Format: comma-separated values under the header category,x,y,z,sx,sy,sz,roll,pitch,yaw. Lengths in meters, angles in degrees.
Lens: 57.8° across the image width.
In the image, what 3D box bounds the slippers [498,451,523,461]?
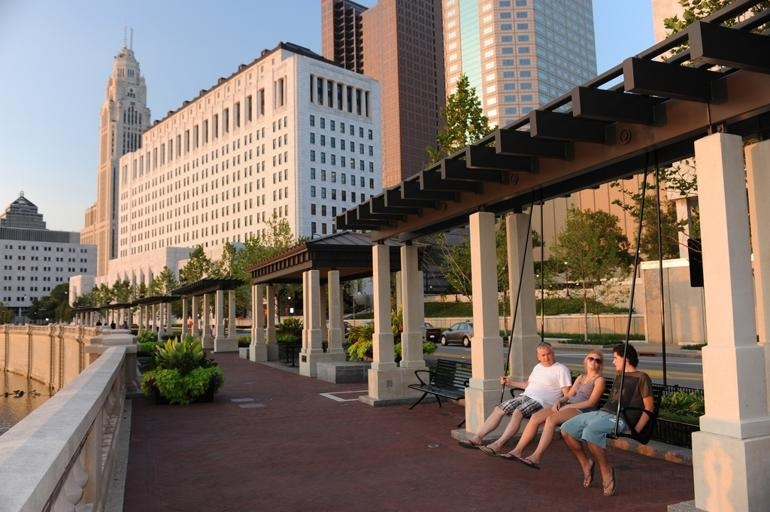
category,x,y,z,sx,sy,sz,roll,pitch,yaw
slippers,2.039,3.219,11.273,0.395,0.111,0.167,5,-12,2

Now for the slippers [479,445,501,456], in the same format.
category,x,y,z,sx,sy,sz,roll,pitch,yaw
slippers,1.757,3.233,11.632,0.315,0.184,0.304,-1,-6,5

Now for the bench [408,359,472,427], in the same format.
category,x,y,z,sx,sy,sz,roll,pitch,yaw
bench,1.332,2.911,15.334,0.844,1.165,2.196,-1,-4,-22

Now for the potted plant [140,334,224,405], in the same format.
category,x,y,z,sx,sy,sz,roll,pitch,yaw
potted plant,-5.101,2.864,17.578,1.908,1.583,1.264,1,-6,-8

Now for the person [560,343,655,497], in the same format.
category,x,y,z,sx,sy,sz,roll,pitch,yaw
person,3.352,2.420,10.662,1.149,2.490,0.944,1,-1,-22

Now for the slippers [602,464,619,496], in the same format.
category,x,y,z,sx,sy,sz,roll,pitch,yaw
slippers,3.326,3.286,10.235,0.115,0.473,0.177,1,-9,-4

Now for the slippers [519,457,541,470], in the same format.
category,x,y,z,sx,sy,sz,roll,pitch,yaw
slippers,2.323,3.277,11.200,0.343,0.220,0.371,-1,-6,12

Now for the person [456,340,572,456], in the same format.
category,x,y,z,sx,sy,sz,roll,pitch,yaw
person,2.170,2.323,11.720,2.136,1.489,1.014,-9,-1,-28

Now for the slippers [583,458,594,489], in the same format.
category,x,y,z,sx,sy,sz,roll,pitch,yaw
slippers,3.110,3.276,10.526,0.113,0.436,0.152,5,3,0
